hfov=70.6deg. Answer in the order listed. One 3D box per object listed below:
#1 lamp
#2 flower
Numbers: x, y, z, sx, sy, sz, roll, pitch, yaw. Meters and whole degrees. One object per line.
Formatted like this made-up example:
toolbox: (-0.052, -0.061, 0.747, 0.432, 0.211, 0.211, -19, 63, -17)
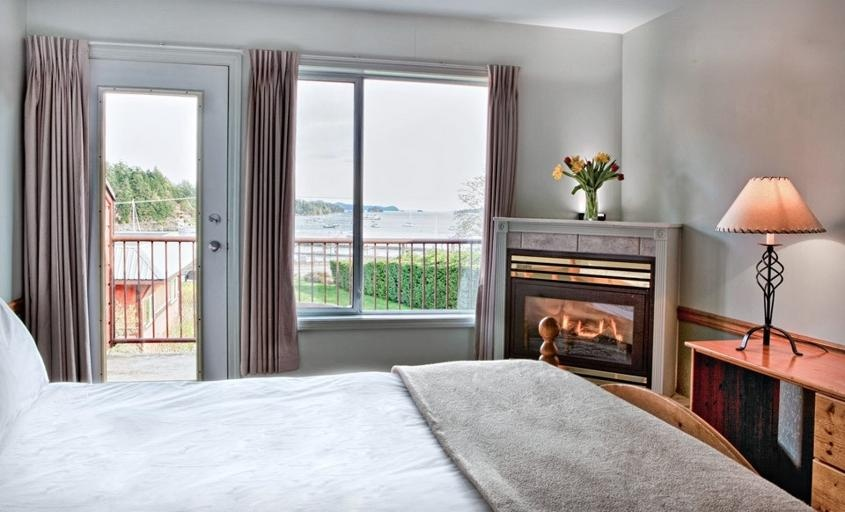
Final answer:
lamp: (2.321, 0.070, 3.963, 0.624, 1.089, 0.606, 0, 2, -13)
flower: (1.292, -0.541, 5.012, 0.595, 0.598, 0.610, -2, 3, -13)
